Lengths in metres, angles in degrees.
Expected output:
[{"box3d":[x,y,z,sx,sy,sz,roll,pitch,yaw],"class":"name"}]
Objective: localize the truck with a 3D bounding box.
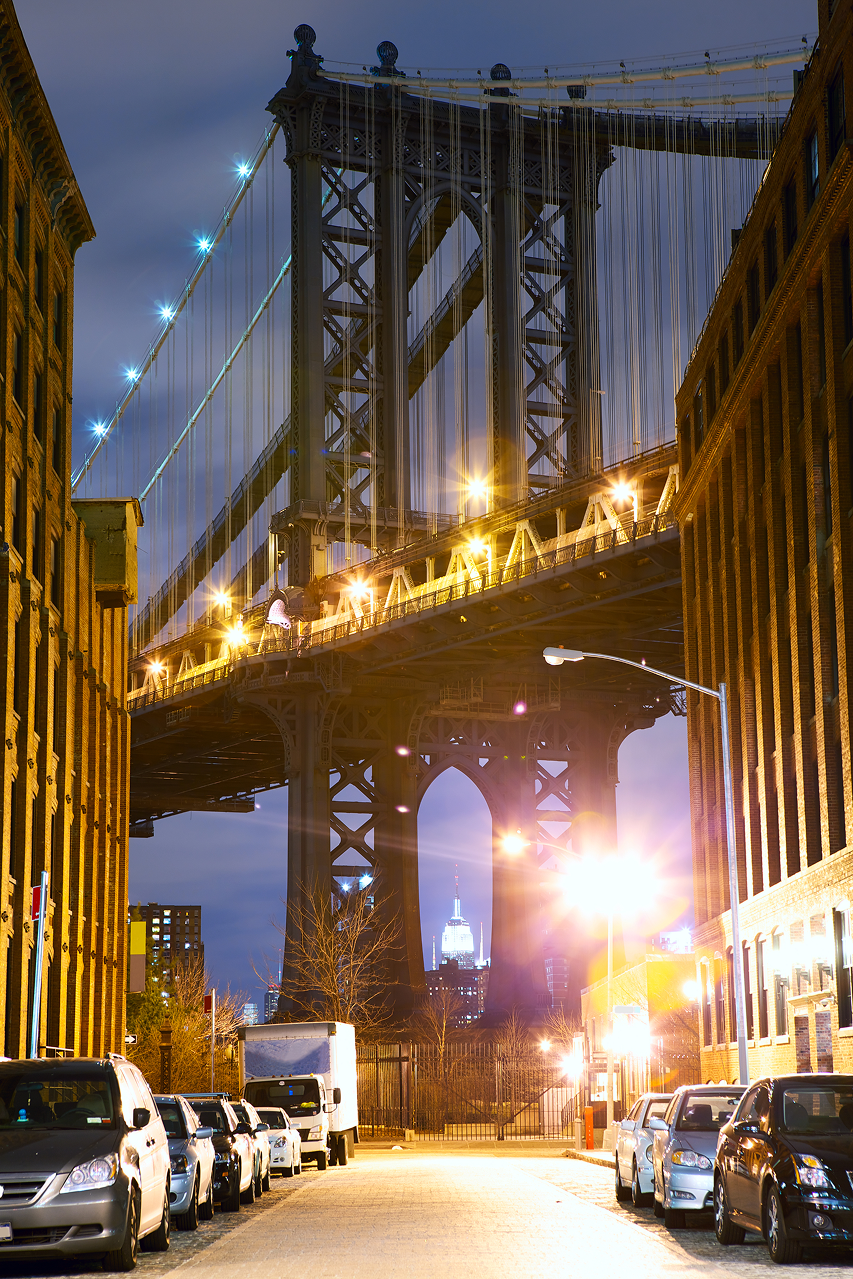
[{"box3d":[-2.902,9.750,38.834,1.521,2.491,4.288,-2,-19,2],"class":"truck"}]
